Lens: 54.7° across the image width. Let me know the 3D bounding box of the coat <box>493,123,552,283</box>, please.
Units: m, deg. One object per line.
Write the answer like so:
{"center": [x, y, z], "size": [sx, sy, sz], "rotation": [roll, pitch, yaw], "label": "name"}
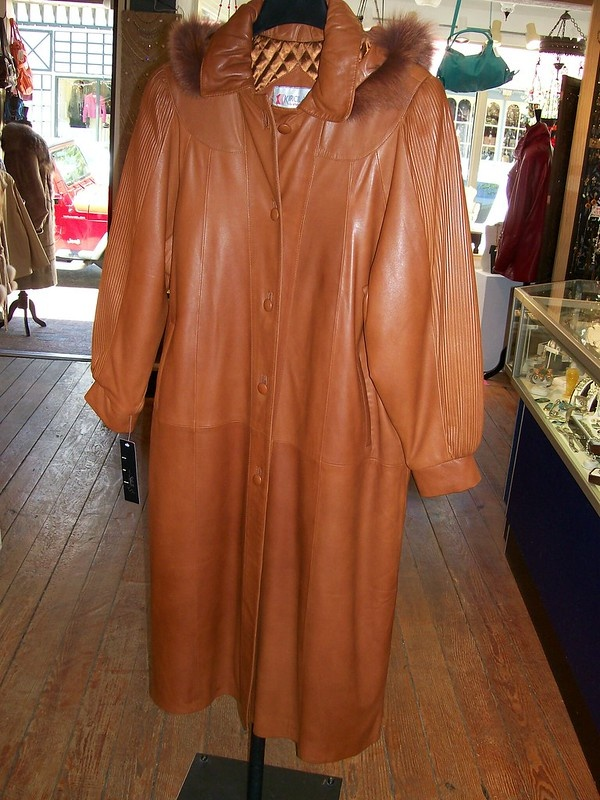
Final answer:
{"center": [1.756, -1.543, 4.534], "size": [0.377, 1.219, 0.466], "rotation": [9, 14, 30], "label": "coat"}
